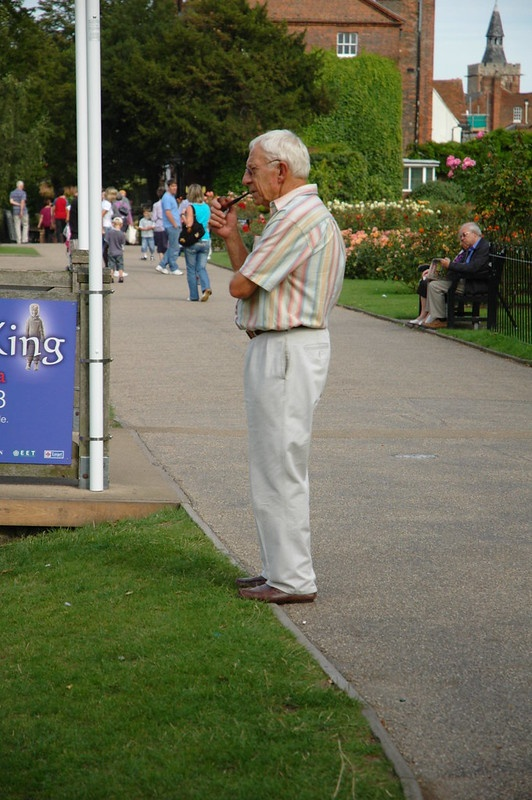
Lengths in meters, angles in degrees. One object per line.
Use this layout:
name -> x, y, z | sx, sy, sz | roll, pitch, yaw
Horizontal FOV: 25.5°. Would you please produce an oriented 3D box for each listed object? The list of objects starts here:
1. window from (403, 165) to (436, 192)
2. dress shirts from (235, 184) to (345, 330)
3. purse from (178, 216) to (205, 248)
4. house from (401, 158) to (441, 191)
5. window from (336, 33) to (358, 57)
window -> 7.593, -10.803, 57.831 | 2.457, 1.561, 0.246 | -1, 10, -5
dress shirts -> 0.102, -0.521, 4.530 | 0.418, 0.589, 0.351 | 4, 19, 2
purse -> -1.157, -2.528, 18.029 | 0.329, 0.405, 0.479 | 2, 4, 14
house -> 7.804, -11.223, 59.113 | 1.982, 1.766, 1.326 | 1, 4, -10
window -> 3.629, -15.513, 51.512 | 1.335, 1.397, 0.114 | 0, 9, 6
